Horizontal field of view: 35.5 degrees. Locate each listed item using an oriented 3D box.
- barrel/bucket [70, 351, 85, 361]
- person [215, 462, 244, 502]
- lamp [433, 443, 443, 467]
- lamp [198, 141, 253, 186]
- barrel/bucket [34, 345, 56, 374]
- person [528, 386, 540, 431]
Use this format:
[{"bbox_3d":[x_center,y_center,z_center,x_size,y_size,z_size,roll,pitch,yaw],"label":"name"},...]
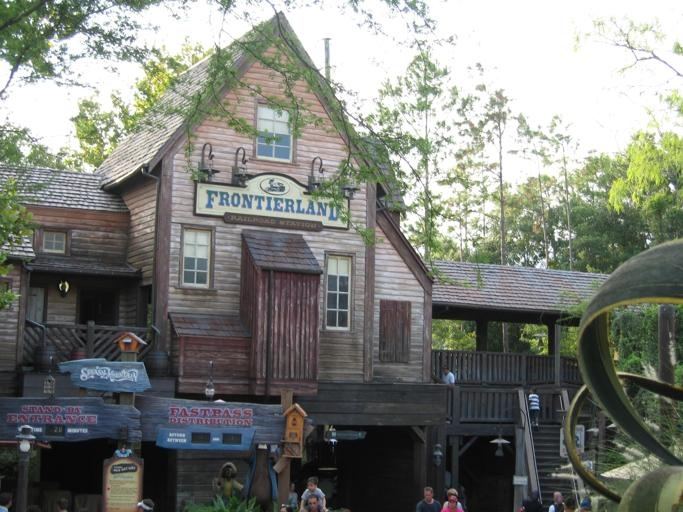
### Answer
[{"bbox_3d":[-5.949,2.238,24.111,0.281,0.223,0.298,0,-11,0],"label":"barrel/bucket"},{"bbox_3d":[-2.354,4.727,22.164,0.639,0.901,0.454,4,-4,5],"label":"person"},{"bbox_3d":[2.408,4.932,26.858,0.237,0.530,0.278,-1,-12,5],"label":"lamp"},{"bbox_3d":[-2.887,-2.209,25.989,1.232,1.114,0.684,8,-16,-38],"label":"lamp"},{"bbox_3d":[-6.619,2.308,23.936,0.496,0.770,0.509,-1,-13,0],"label":"barrel/bucket"},{"bbox_3d":[5.157,4.090,28.829,0.287,1.137,0.886,-2,-12,12],"label":"person"}]
